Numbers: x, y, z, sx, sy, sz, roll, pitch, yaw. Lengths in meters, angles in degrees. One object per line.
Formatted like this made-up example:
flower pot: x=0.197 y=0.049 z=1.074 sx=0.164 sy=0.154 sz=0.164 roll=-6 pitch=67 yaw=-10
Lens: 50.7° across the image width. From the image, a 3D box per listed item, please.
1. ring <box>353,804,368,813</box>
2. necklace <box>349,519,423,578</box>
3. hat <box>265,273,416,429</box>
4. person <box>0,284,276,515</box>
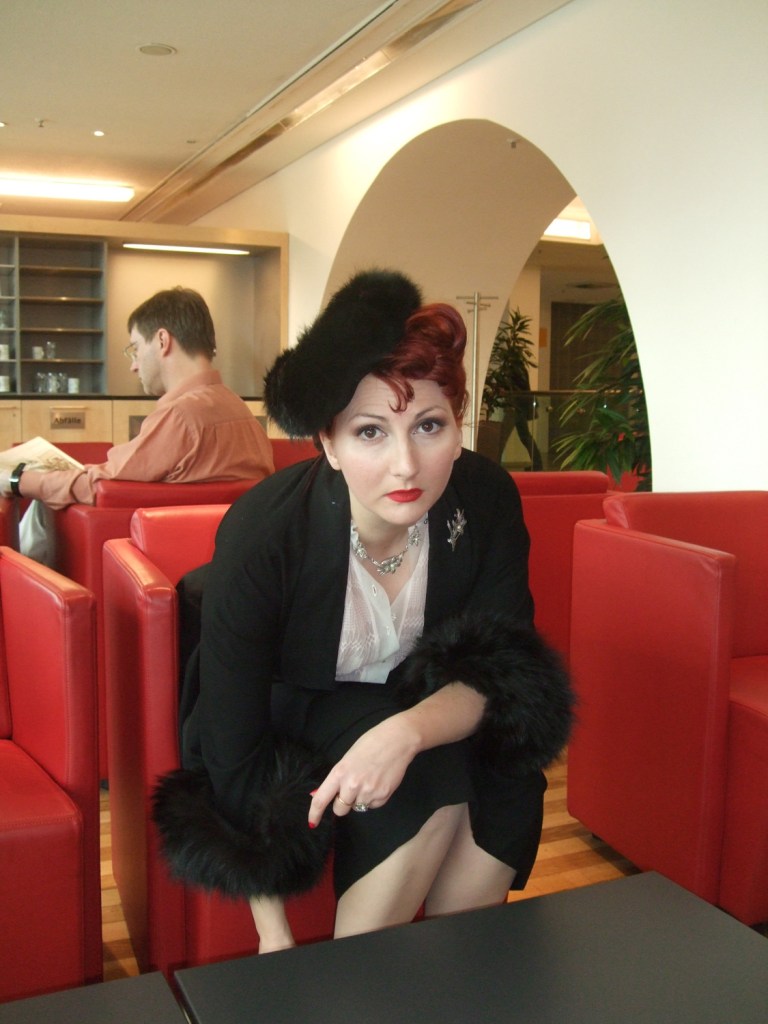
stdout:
ring: x=-0.029 y=0.372 z=1.011 sx=0.019 sy=0.011 sz=0.018 roll=2 pitch=8 yaw=0
necklace: x=0.003 y=0.048 z=1.190 sx=0.073 sy=0.090 sz=0.034 roll=4 pitch=1 yaw=-10
hat: x=-0.063 y=-0.207 z=1.056 sx=0.200 sy=0.208 sz=0.081 roll=-2 pitch=-7 yaw=24
person: x=-0.946 y=-0.402 z=2.727 sx=0.902 sy=0.628 sz=0.652 roll=3 pitch=9 yaw=28
